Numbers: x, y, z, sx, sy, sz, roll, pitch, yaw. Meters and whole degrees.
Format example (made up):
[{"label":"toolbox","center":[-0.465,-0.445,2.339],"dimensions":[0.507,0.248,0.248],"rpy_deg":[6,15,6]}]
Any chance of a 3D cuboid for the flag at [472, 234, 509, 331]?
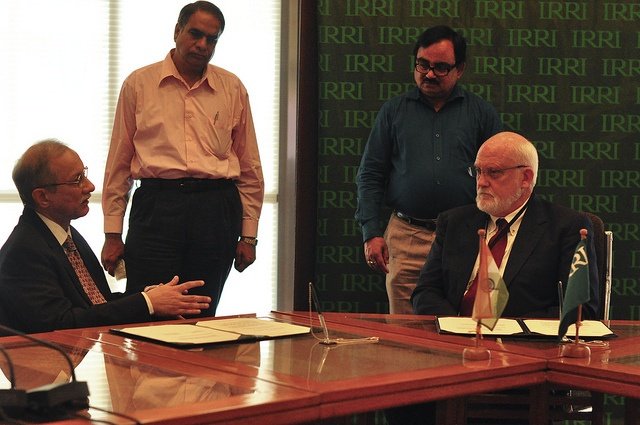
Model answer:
[{"label":"flag","center":[0.725,0.303,3.340],"dimensions":[0.128,0.401,0.165],"rpy_deg":[3,4,42]}]
